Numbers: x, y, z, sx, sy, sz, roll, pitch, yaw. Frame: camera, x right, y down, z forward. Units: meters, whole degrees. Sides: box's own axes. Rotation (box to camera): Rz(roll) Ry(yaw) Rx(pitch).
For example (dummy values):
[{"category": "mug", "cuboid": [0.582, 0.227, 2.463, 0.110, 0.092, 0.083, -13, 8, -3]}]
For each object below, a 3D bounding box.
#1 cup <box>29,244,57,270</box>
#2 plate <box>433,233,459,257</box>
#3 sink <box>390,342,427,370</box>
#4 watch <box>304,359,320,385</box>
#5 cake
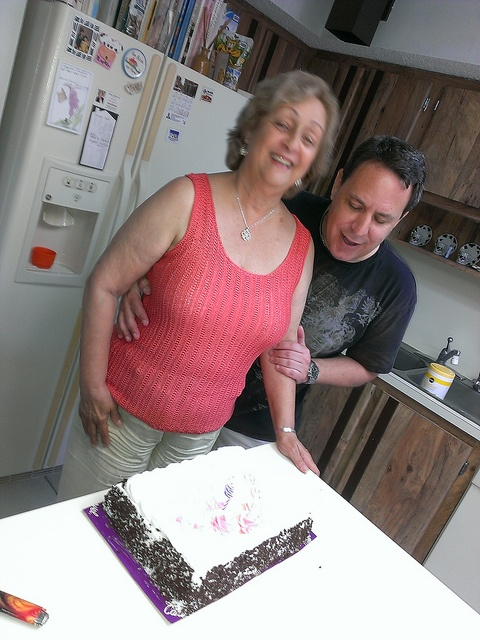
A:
[{"category": "cup", "cuboid": [-0.714, -0.224, 1.642, 0.088, 0.073, 0.072, 13, 22, -33]}, {"category": "plate", "cuboid": [1.152, -0.416, 2.546, 0.120, 0.130, 0.032, 11, -2, 36]}, {"category": "sink", "cuboid": [0.998, 0.214, 2.712, 0.222, 0.121, 0.207, 14, 28, 28]}, {"category": "watch", "cuboid": [0.206, 0.142, 1.260, 0.048, 0.068, 0.068, 10, -8, -6]}, {"category": "cake", "cuboid": [-0.022, 0.297, 0.683, 0.160, 0.057, 0.245, 38, 20, 31]}]
